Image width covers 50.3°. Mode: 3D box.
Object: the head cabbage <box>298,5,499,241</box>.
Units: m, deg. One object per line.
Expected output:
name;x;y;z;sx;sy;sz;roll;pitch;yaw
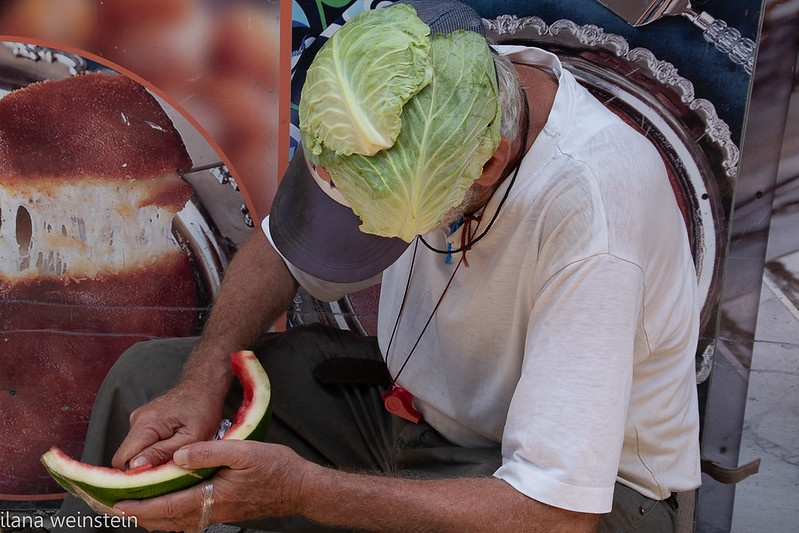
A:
head cabbage;0.029;-0.569;2.983;0.788;0.858;0.294;-16;0;-4

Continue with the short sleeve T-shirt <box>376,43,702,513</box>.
short sleeve T-shirt;0.528;0.133;3.551;0.919;1.305;1.641;-19;42;-10

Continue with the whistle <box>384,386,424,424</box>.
whistle;0.001;0.684;4.098;0.141;0.107;0.244;6;-1;-30

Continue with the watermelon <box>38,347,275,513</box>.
watermelon;-0.950;0.756;3.560;0.952;0.394;0.437;-18;34;-35
